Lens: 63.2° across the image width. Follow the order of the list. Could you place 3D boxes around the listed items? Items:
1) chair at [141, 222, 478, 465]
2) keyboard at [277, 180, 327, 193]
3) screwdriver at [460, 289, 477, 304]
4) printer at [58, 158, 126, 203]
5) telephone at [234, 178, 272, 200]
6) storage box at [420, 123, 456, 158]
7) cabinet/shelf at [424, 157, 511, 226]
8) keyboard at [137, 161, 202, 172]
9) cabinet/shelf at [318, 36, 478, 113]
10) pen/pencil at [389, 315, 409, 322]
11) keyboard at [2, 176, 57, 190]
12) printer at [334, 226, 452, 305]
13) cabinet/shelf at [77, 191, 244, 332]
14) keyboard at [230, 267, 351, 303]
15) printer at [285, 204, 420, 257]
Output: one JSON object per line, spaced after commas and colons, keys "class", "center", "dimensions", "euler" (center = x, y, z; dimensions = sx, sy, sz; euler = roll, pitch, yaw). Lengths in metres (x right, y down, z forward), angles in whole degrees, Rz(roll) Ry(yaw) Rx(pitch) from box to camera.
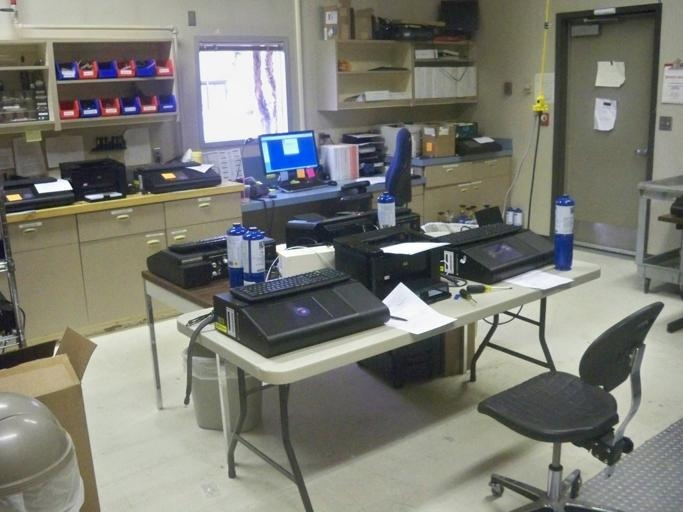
{"class": "chair", "center": [-0.459, 0.141, 3.245], "dimensions": [2.064, 1.077, 1.107], "euler": [-15, 22, -37]}
{"class": "keyboard", "center": [-0.349, -0.686, 5.305], "dimensions": [0.508, 0.075, 0.251], "euler": [-14, 21, -25]}
{"class": "screwdriver", "center": [0.625, 0.195, 2.705], "dimensions": [0.026, 0.030, 0.098], "euler": [-52, 23, 2]}
{"class": "printer", "center": [-1.954, -0.629, 4.411], "dimensions": [0.384, 0.306, 0.396], "euler": [-14, 21, -37]}
{"class": "telephone", "center": [-0.812, -0.609, 5.139], "dimensions": [0.209, 0.136, 0.303], "euler": [-17, 24, -37]}
{"class": "storage box", "center": [1.094, -1.254, 6.074], "dimensions": [0.397, 0.325, 0.357], "euler": [-4, 19, 2]}
{"class": "cabinet/shelf", "center": [1.614, -0.662, 6.435], "dimensions": [0.933, 0.903, 0.351], "euler": [-1, 8, 37]}
{"class": "keyboard", "center": [-1.435, -0.752, 4.666], "dimensions": [0.517, 0.059, 0.172], "euler": [-16, 22, -29]}
{"class": "cabinet/shelf", "center": [0.698, -2.026, 6.135], "dimensions": [1.652, 0.660, 0.385], "euler": [-7, 20, -17]}
{"class": "pen/pencil", "center": [0.262, 0.278, 2.488], "dimensions": [0.024, 0.017, 0.124], "euler": [-27, 22, -24]}
{"class": "keyboard", "center": [-2.376, -0.586, 4.245], "dimensions": [0.333, 0.067, 0.422], "euler": [-14, 21, -25]}
{"class": "printer", "center": [0.278, 0.102, 2.782], "dimensions": [0.470, 0.307, 0.467], "euler": [-12, 6, -38]}
{"class": "cabinet/shelf", "center": [-1.372, -0.021, 4.627], "dimensions": [1.308, 0.864, 0.429], "euler": [-11, -24, -3]}
{"class": "keyboard", "center": [-0.213, 0.122, 2.455], "dimensions": [0.530, 0.071, 0.150], "euler": [-16, 22, -30]}
{"class": "printer", "center": [-0.026, -0.172, 3.157], "dimensions": [0.450, 0.227, 0.327], "euler": [-15, 22, -34]}
